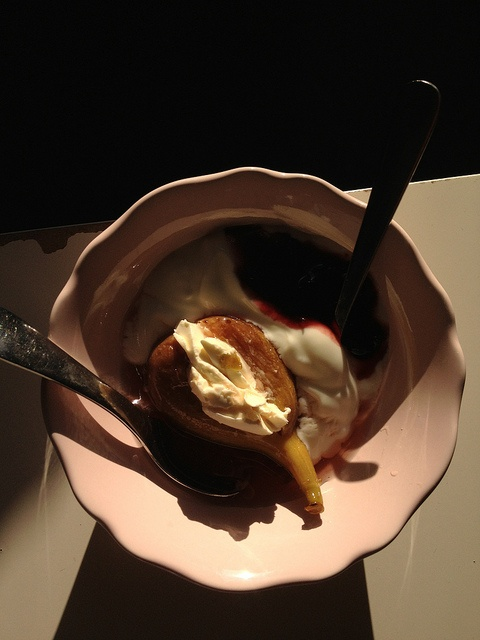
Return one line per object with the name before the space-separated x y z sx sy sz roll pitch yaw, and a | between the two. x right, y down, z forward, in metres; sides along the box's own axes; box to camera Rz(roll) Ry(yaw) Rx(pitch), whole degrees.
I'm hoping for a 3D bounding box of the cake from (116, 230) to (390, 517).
cake | 0.017 0.038 0.882 0.365 0.139 0.408 -21 76 -4
